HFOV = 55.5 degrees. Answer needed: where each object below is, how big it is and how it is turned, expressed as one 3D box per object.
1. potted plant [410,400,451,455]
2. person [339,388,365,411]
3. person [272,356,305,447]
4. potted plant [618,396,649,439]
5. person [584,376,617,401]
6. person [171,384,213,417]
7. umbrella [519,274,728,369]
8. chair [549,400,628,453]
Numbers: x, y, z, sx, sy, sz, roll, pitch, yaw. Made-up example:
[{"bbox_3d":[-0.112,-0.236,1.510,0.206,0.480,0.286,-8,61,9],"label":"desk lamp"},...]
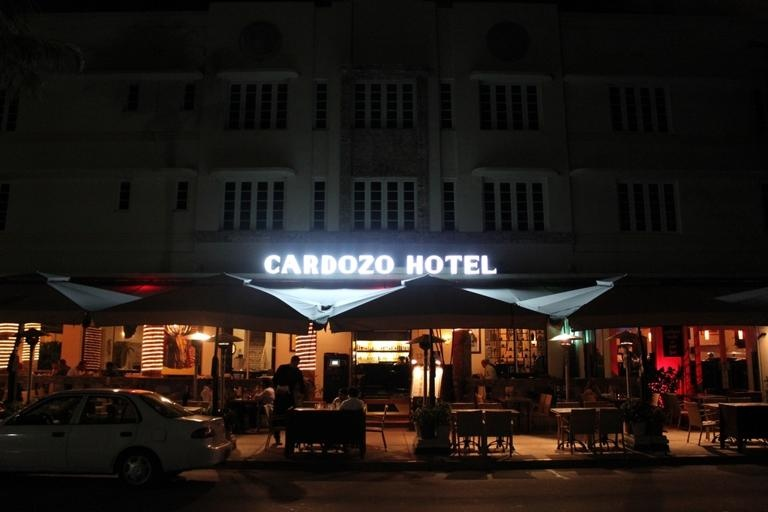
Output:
[{"bbox_3d":[1.549,5.172,22.420,1.395,1.252,1.159,-4,-13,11],"label":"potted plant"},{"bbox_3d":[-0.923,4.334,21.924,1.049,0.892,0.575,0,-11,1],"label":"person"},{"bbox_3d":[-3.011,4.568,23.465,1.111,2.816,0.957,4,-6,-24],"label":"person"},{"bbox_3d":[7.809,4.919,22.524,0.978,0.856,0.904,3,-16,10],"label":"potted plant"},{"bbox_3d":[8.162,5.014,27.804,0.926,0.347,0.841,-1,2,0],"label":"person"},{"bbox_3d":[-6.453,4.901,24.968,2.052,0.745,1.450,-7,-9,42],"label":"person"},{"bbox_3d":[7.434,1.460,21.894,4.850,1.294,1.478,2,9,3],"label":"umbrella"},{"bbox_3d":[6.311,5.243,22.549,1.851,1.075,1.795,-1,-6,3],"label":"chair"}]
